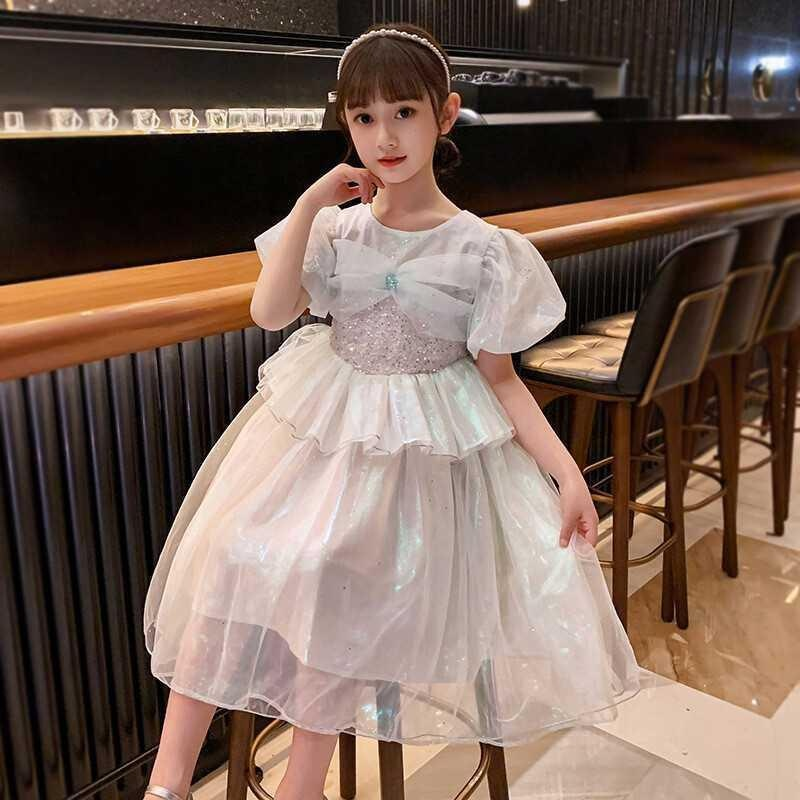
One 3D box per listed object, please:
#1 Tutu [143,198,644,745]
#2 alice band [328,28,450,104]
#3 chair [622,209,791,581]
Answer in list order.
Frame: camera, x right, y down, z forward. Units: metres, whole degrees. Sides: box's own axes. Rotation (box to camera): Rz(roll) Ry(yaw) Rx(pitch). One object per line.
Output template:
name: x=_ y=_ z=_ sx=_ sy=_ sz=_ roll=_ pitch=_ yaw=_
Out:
Tutu: x=-0.018 y=0.076 z=0.815 sx=0.643 sy=0.632 sz=0.408 roll=4 pitch=12 yaw=17
alice band: x=-0.003 y=-0.411 z=0.788 sx=0.142 sy=0.063 sz=0.081 roll=-2 pitch=12 yaw=-8
chair: x=0.983 y=-0.081 z=2.190 sx=0.350 sy=1.100 sz=0.435 roll=-11 pitch=26 yaw=3
